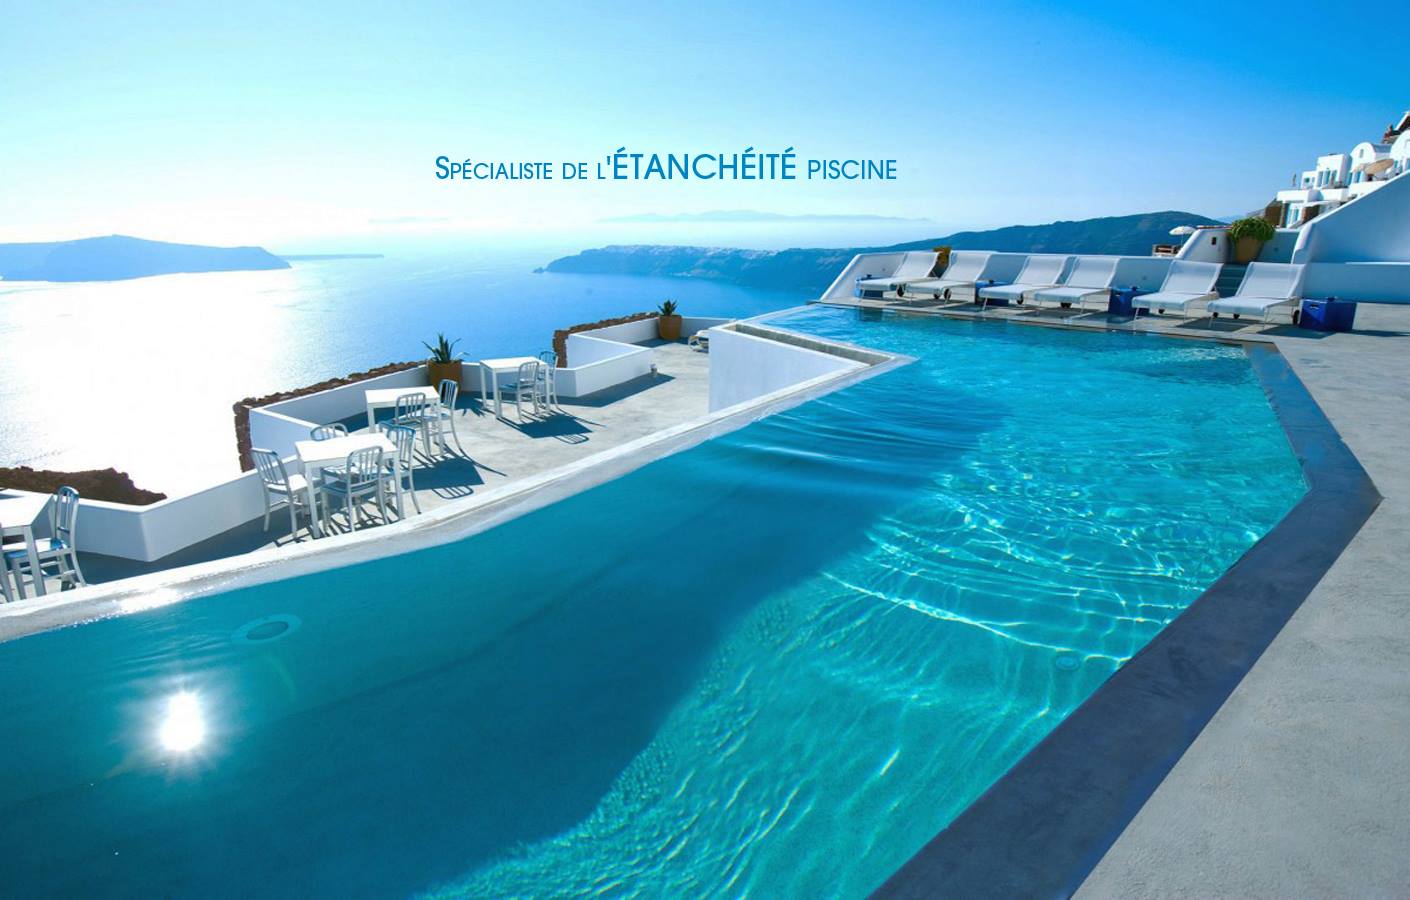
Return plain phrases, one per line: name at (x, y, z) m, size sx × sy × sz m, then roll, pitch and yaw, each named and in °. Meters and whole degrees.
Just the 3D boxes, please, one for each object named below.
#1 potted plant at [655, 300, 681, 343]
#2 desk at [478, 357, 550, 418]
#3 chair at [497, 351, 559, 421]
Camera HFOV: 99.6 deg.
potted plant at (-0.919, -3.539, 16.321) m, size 0.779 × 1.098 × 0.868 m, roll -3°, pitch 22°, yaw -14°
desk at (-3.442, -1.128, 10.850) m, size 1.414 × 0.792 × 0.866 m, roll -8°, pitch 35°, yaw -22°
chair at (-3.247, -1.210, 10.793) m, size 1.091 × 1.041 × 1.767 m, roll -3°, pitch 18°, yaw -14°
